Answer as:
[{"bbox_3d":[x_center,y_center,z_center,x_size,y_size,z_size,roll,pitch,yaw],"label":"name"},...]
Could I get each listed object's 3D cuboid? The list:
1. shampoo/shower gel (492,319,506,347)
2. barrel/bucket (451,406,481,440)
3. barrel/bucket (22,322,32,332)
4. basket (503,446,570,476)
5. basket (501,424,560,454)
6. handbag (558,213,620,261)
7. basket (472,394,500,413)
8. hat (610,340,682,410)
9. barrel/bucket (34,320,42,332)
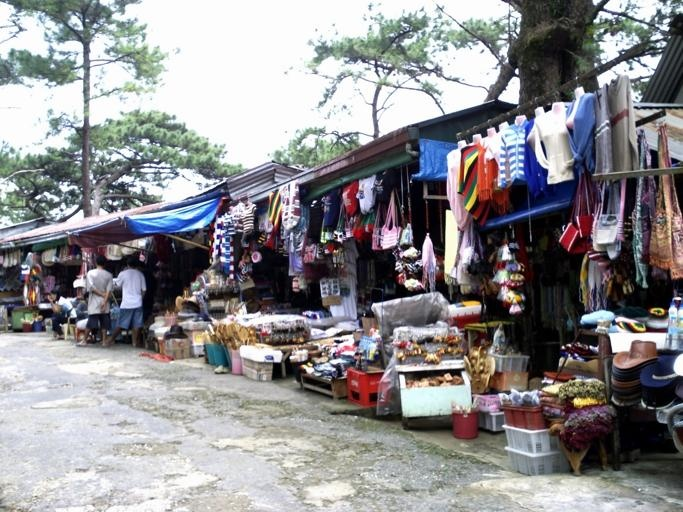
[{"bbox_3d":[1.931,0.919,7.817,0.155,0.272,0.995,0,3,13],"label":"shampoo/shower gel"},{"bbox_3d":[1.293,1.737,6.700,0.287,0.300,0.299,0,-5,0],"label":"barrel/bucket"},{"bbox_3d":[-8.866,1.979,17.972,0.243,0.196,0.246,-2,-8,0],"label":"barrel/bucket"},{"bbox_3d":[1.792,1.858,5.764,0.360,0.152,0.258,2,-6,-24],"label":"basket"},{"bbox_3d":[1.691,1.654,5.795,0.223,0.142,0.327,1,-2,-19],"label":"basket"},{"bbox_3d":[2.658,-0.182,6.582,0.176,0.428,0.403,32,-20,-36],"label":"handbag"},{"bbox_3d":[1.571,1.579,6.892,0.238,0.118,0.186,5,-7,-29],"label":"basket"},{"bbox_3d":[2.588,0.996,5.421,0.576,0.318,0.463,-1,-1,-40],"label":"hat"},{"bbox_3d":[-8.570,1.961,18.029,0.251,0.286,0.260,-1,-8,0],"label":"barrel/bucket"}]
